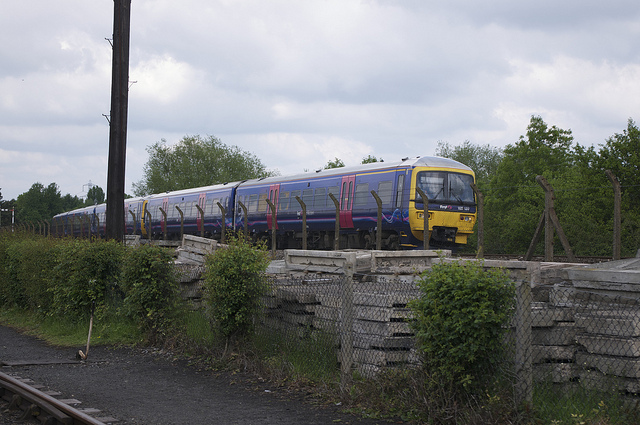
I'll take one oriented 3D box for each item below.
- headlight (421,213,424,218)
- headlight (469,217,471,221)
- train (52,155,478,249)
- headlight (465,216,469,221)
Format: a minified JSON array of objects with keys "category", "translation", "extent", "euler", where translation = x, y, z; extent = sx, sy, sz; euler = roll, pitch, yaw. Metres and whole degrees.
[{"category":"headlight","translation":[3.713,0.134,20.730],"extent":[0.132,0.080,0.139],"euler":[-5,38,6]},{"category":"headlight","translation":[5.730,0.255,21.875],"extent":[0.077,0.122,0.028],"euler":[-3,2,-30]},{"category":"train","translation":[-2.284,0.356,29.291],"extent":[2.438,3.056,24.138],"euler":[16,-12,-34]},{"category":"headlight","translation":[5.592,0.228,21.808],"extent":[0.198,0.215,0.114],"euler":[0,-6,-4]}]
